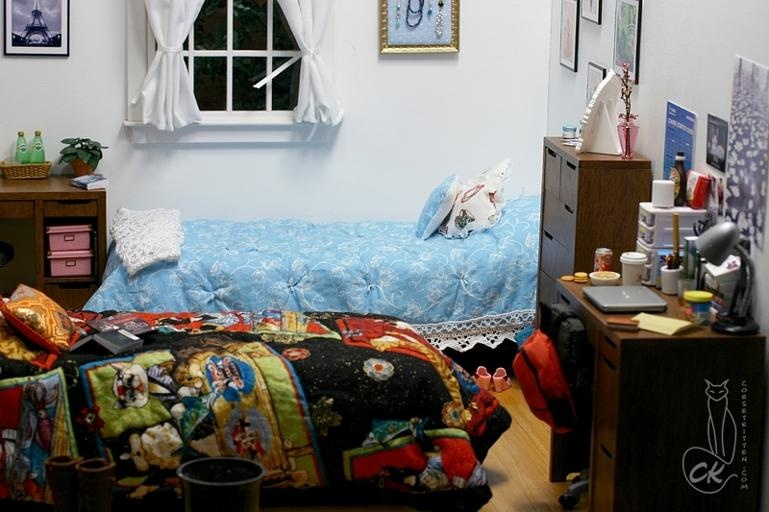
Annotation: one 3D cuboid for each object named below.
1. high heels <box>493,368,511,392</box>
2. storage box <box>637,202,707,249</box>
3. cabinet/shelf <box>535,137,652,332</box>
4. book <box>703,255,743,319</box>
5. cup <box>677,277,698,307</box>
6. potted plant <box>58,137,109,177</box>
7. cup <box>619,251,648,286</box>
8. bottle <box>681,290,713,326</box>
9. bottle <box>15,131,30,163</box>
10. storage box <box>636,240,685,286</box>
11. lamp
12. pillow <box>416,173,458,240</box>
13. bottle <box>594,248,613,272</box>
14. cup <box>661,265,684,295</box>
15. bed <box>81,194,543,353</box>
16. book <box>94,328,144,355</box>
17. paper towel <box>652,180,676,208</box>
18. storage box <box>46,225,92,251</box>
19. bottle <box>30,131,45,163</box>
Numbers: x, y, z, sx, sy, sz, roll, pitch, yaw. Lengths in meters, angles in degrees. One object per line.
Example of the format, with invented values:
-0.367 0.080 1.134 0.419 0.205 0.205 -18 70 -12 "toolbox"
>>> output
0.720 0.764 3.833 0.095 0.112 0.146 4 22 15 "high heels"
1.262 -0.152 2.751 0.208 0.137 0.211 0 7 -6 "storage box"
1.005 -0.123 2.922 0.268 0.803 0.767 0 28 -2 "cabinet/shelf"
1.276 0.117 2.331 0.093 0.198 0.199 4 12 7 "book"
1.204 0.140 2.484 0.089 0.105 0.091 1 8 0 "cup"
-2.177 -0.700 4.480 0.282 0.213 0.306 1 7 -6 "potted plant"
1.072 0.054 2.747 0.122 0.134 0.125 3 7 0 "cup"
1.182 0.187 2.340 0.113 0.117 0.116 -2 8 -5 "bottle"
-2.618 -0.787 4.484 0.092 0.234 0.216 -3 7 -30 "bottle"
1.182 0.022 2.726 0.189 0.148 0.160 -1 11 -7 "storage box"
1.285 0.071 2.290 0.173 0.405 0.377 6 8 44 "lamp"
0.434 -0.335 4.248 0.117 0.389 0.388 28 45 -14 "pillow"
1.002 0.016 2.844 0.089 0.141 0.088 -2 12 0 "bottle"
1.193 0.099 2.634 0.101 0.121 0.104 0 5 0 "cup"
-0.299 0.088 4.023 2.047 0.660 1.336 2 10 -4 "bed"
-1.142 0.362 2.688 0.124 0.029 0.120 25 23 28 "book"
1.222 -0.277 2.724 0.105 0.125 0.109 1 7 11 "paper towel"
-2.106 -0.130 4.156 0.202 0.108 0.204 -1 4 -21 "storage box"
-2.494 -0.787 4.462 0.119 0.239 0.089 5 7 39 "bottle"
